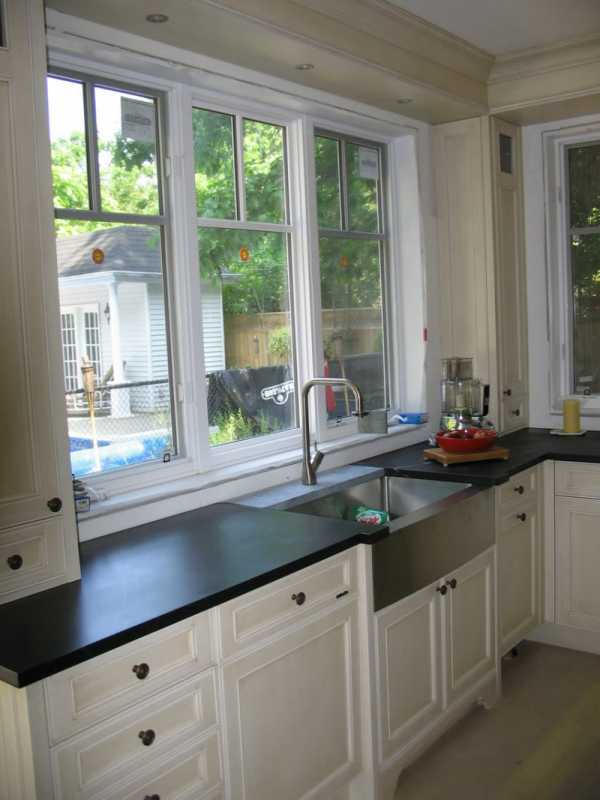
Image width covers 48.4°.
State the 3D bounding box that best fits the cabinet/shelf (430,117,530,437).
[{"bbox_3d":[0.992,-0.648,3.626,0.330,1.632,0.490,0,9,36],"label":"cabinet/shelf"}]

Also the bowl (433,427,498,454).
[{"bbox_3d":[0.725,0.171,2.942,0.243,0.076,0.339,-4,7,12],"label":"bowl"}]
